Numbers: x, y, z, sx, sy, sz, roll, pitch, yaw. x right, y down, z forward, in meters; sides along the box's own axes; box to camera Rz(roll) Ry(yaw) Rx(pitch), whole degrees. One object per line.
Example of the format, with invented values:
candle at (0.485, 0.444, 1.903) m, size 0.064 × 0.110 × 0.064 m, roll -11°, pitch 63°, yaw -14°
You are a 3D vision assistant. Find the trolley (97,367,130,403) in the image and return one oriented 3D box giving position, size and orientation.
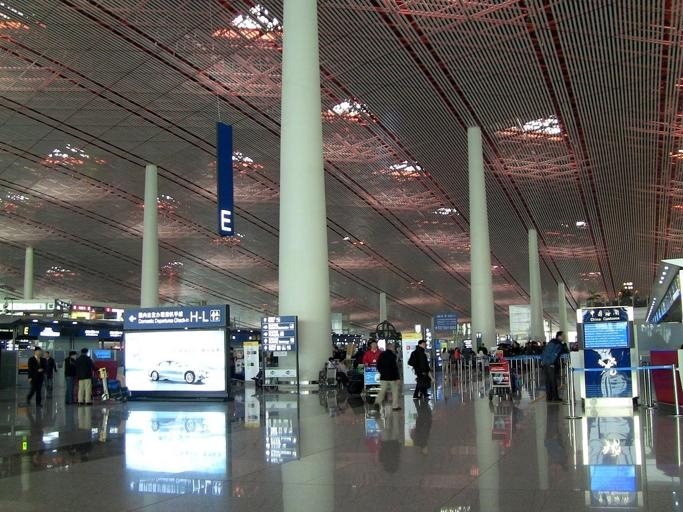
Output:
trolley at (-5.972, 3.471, 15.154) m, size 0.896 × 0.764 × 0.665 m, roll -3°, pitch 10°, yaw 18°

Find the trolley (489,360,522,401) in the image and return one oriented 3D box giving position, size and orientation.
trolley at (4.005, 3.123, 14.282) m, size 0.654 × 0.818 × 1.881 m, roll -1°, pitch 1°, yaw 19°

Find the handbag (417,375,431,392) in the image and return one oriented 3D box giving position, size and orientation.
handbag at (1.945, 3.070, 13.482) m, size 0.306 × 0.370 × 0.530 m, roll -4°, pitch -13°, yaw 8°

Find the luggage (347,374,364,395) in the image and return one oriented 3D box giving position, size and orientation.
luggage at (0.345, 3.436, 14.906) m, size 0.394 × 0.517 × 0.572 m, roll -5°, pitch -13°, yaw 11°

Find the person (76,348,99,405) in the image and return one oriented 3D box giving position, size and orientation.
person at (-6.652, 3.145, 14.533) m, size 0.462 × 1.418 × 0.691 m, roll 4°, pitch -15°, yaw -23°
